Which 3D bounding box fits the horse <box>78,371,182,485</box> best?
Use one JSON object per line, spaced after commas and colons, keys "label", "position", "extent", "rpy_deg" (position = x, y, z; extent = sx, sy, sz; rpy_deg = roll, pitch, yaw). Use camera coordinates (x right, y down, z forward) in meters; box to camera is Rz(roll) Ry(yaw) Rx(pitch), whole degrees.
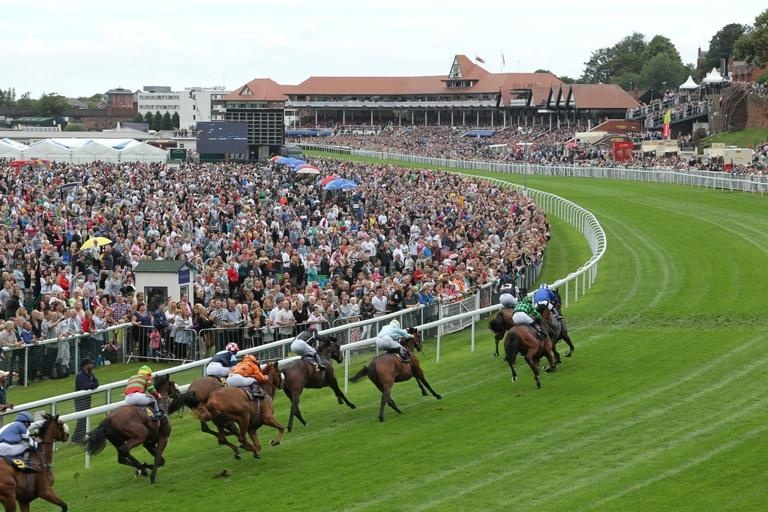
{"label": "horse", "position": [-5.477, 3.688, 30.202], "extent": [0.760, 2.103, 3.112], "rpy_deg": [-16, -9, 33]}

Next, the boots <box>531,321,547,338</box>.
{"label": "boots", "position": [3.562, 1.728, 32.714], "extent": [0.223, 0.378, 0.112], "rpy_deg": [-40, -3, -29]}

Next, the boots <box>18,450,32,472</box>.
{"label": "boots", "position": [-7.391, 4.233, 28.936], "extent": [0.177, 0.379, 0.181], "rpy_deg": [-4, 11, -16]}

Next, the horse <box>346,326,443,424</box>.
{"label": "horse", "position": [0.245, 2.733, 31.979], "extent": [0.615, 1.792, 2.937], "rpy_deg": [-14, 5, 39]}

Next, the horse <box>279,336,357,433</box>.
{"label": "horse", "position": [-1.687, 2.849, 31.717], "extent": [0.566, 1.779, 2.818], "rpy_deg": [-20, -5, 39]}

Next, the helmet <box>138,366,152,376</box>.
{"label": "helmet", "position": [-5.231, 2.504, 30.285], "extent": [0.247, 0.274, 0.308], "rpy_deg": [0, 8, 4]}

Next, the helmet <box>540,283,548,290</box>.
{"label": "helmet", "position": [3.865, 0.743, 34.191], "extent": [0.217, 0.117, 0.209], "rpy_deg": [0, 2, 2]}

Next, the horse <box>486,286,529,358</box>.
{"label": "horse", "position": [2.824, 1.832, 34.420], "extent": [0.452, 1.214, 1.951], "rpy_deg": [11, 1, 12]}

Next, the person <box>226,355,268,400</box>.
{"label": "person", "position": [-3.025, 2.628, 30.547], "extent": [0.782, 0.850, 0.971], "rpy_deg": [5, 11, 30]}

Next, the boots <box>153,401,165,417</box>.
{"label": "boots", "position": [-4.911, 3.283, 30.087], "extent": [0.118, 0.300, 0.285], "rpy_deg": [-22, 5, -16]}

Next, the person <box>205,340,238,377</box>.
{"label": "person", "position": [-3.554, 2.234, 31.070], "extent": [0.412, 0.415, 1.016], "rpy_deg": [9, 23, 13]}

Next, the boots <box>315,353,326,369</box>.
{"label": "boots", "position": [-1.477, 2.382, 31.622], "extent": [0.221, 0.323, 0.787], "rpy_deg": [2, 11, -10]}

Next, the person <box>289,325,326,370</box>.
{"label": "person", "position": [-1.757, 2.085, 31.671], "extent": [0.716, 0.861, 0.479], "rpy_deg": [-1, 11, -4]}

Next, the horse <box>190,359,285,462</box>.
{"label": "horse", "position": [-3.182, 3.360, 30.599], "extent": [0.921, 2.237, 3.255], "rpy_deg": [-11, -8, 32]}

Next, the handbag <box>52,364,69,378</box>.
{"label": "handbag", "position": [-7.889, 2.787, 34.018], "extent": [0.356, 0.302, 0.326], "rpy_deg": [-4, 6, -25]}
